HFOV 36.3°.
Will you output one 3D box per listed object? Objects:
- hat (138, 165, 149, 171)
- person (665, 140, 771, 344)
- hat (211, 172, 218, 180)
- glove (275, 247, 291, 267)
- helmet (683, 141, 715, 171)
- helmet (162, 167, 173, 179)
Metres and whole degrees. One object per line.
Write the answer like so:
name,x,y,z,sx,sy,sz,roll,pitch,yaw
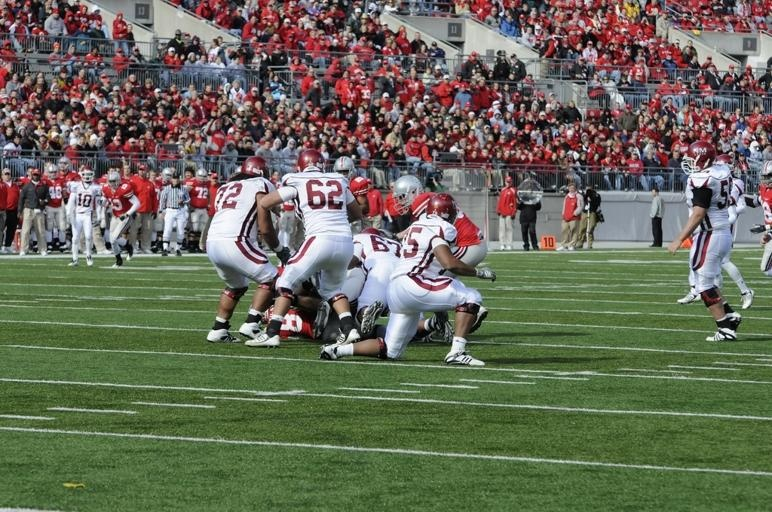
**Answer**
hat,-5.580,-1.974,26.789,0.178,0.100,0.270,5,4,1
person,3.646,-0.200,13.336,0.764,2.192,1.118,2,0,16
hat,-4.103,-1.885,27.903,0.180,0.161,0.130,15,-16,-28
glove,-1.103,0.014,12.610,0.168,0.198,0.105,-1,4,29
helmet,3.603,-1.126,13.494,0.385,0.308,0.302,2,11,24
helmet,-4.968,-1.840,26.564,0.225,0.251,0.532,2,0,-15
